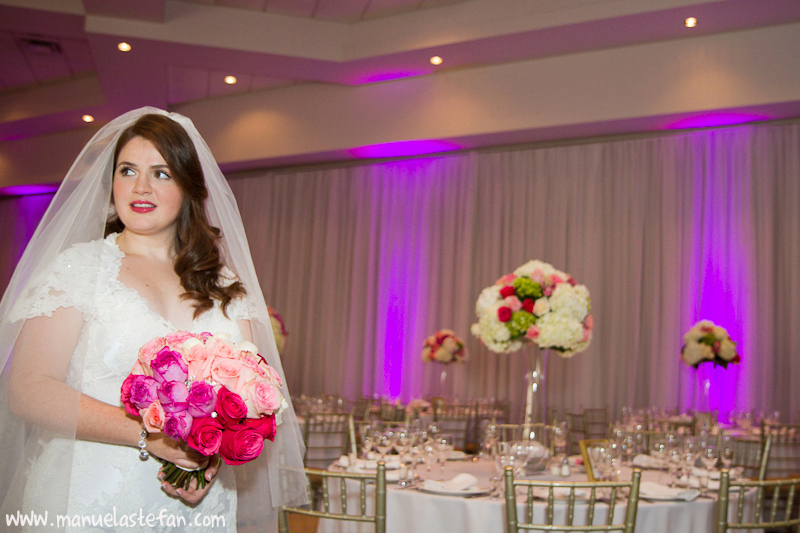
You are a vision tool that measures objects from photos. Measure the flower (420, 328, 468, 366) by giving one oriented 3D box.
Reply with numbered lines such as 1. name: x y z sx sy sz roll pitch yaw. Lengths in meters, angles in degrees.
1. flower: 0.386 0.729 5.833 0.376 0.351 0.385 4 -16 -13

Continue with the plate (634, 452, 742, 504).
1. plate: 1.592 1.247 3.732 0.452 0.095 0.429 -1 2 -15

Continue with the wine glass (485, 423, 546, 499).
1. wine glass: 0.621 1.073 3.770 0.319 0.246 0.285 -7 -10 44

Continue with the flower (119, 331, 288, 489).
1. flower: -0.710 0.469 2.375 0.578 0.467 0.185 4 -15 -12

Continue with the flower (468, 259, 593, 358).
1. flower: 0.841 0.362 4.134 0.604 0.601 0.261 -3 -18 8

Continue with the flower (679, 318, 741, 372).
1. flower: 2.849 0.721 6.088 0.456 0.435 0.286 -10 -19 33
